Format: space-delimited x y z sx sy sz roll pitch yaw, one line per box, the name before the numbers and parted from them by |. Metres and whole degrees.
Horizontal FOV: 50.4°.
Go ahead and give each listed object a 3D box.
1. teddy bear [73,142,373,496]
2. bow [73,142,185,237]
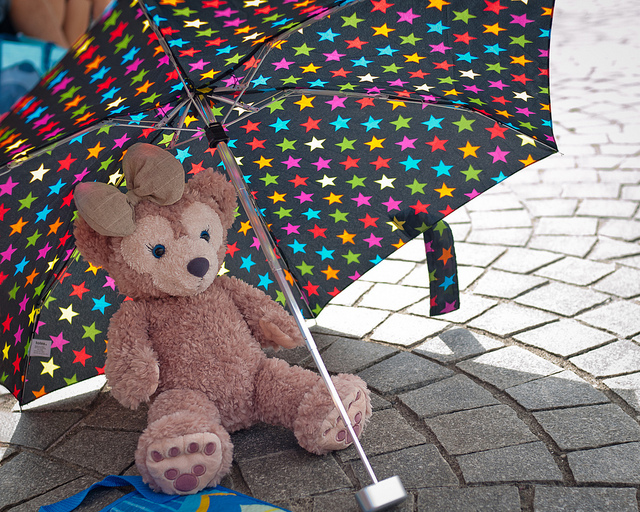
teddy bear | -0.416 0.234 2.724 1.291 1.159 1.078 4 16 25
bow | -0.764 -0.257 2.753 0.436 0.259 0.234 -33 49 -20
